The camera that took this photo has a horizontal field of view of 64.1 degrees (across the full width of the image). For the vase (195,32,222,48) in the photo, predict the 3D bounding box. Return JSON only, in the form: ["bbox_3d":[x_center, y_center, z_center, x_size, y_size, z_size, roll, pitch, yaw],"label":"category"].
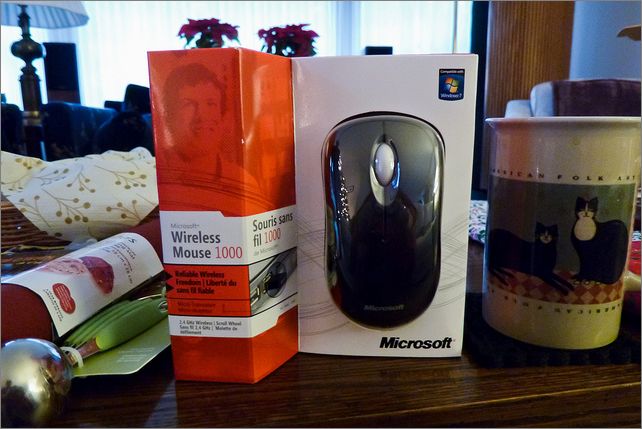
[{"bbox_3d":[-0.462,-0.721,2.117,0.103,0.055,0.197,-4,17,-12],"label":"vase"}]

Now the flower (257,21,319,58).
[{"bbox_3d":[-0.130,-0.709,2.065,0.240,0.130,0.295,-2,17,-7],"label":"flower"}]
